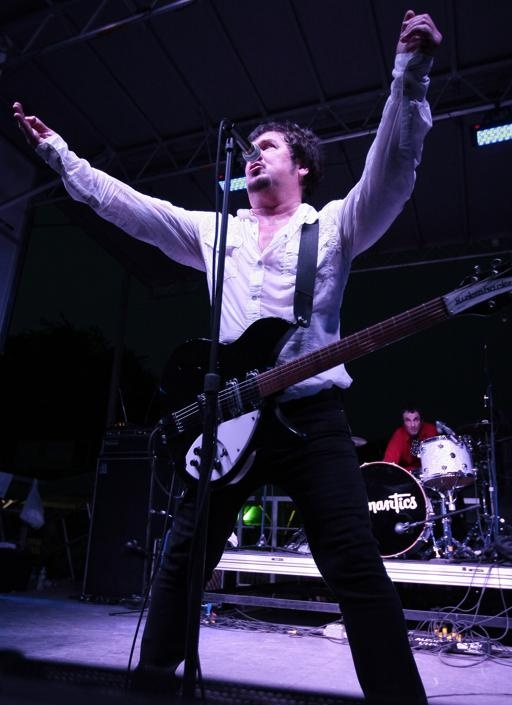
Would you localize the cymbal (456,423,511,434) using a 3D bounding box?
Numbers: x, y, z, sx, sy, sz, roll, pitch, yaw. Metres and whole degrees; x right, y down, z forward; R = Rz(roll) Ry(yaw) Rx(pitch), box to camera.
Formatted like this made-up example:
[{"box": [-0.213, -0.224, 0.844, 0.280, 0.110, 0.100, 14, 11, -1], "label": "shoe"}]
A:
[{"box": [2.052, 0.691, 5.535, 0.327, 0.086, 0.335, 3, -15, -21], "label": "cymbal"}]

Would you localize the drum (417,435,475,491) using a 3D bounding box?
[{"box": [1.410, 0.806, 4.638, 0.424, 0.324, 0.447, 0, -37, 0], "label": "drum"}]

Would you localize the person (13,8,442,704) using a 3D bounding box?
[{"box": [-0.003, -0.041, 1.582, 1.015, 1.639, 0.565, -5, -17, 20], "label": "person"}]
